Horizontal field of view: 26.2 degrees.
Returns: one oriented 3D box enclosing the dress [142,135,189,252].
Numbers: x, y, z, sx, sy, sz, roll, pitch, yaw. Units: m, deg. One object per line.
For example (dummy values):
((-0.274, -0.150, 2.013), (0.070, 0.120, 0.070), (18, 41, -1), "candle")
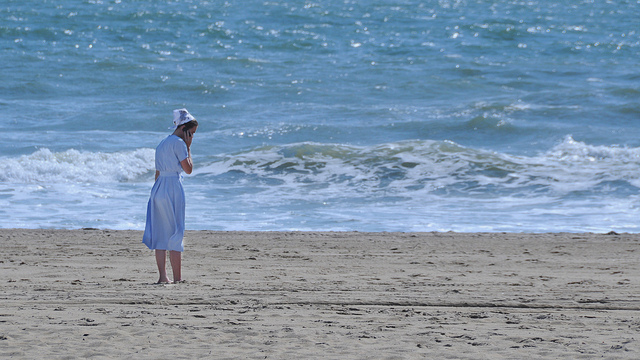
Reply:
((-5.926, 0.584, 53.344), (1.623, 4.612, 0.977), (1, 12, -3), "dress")
